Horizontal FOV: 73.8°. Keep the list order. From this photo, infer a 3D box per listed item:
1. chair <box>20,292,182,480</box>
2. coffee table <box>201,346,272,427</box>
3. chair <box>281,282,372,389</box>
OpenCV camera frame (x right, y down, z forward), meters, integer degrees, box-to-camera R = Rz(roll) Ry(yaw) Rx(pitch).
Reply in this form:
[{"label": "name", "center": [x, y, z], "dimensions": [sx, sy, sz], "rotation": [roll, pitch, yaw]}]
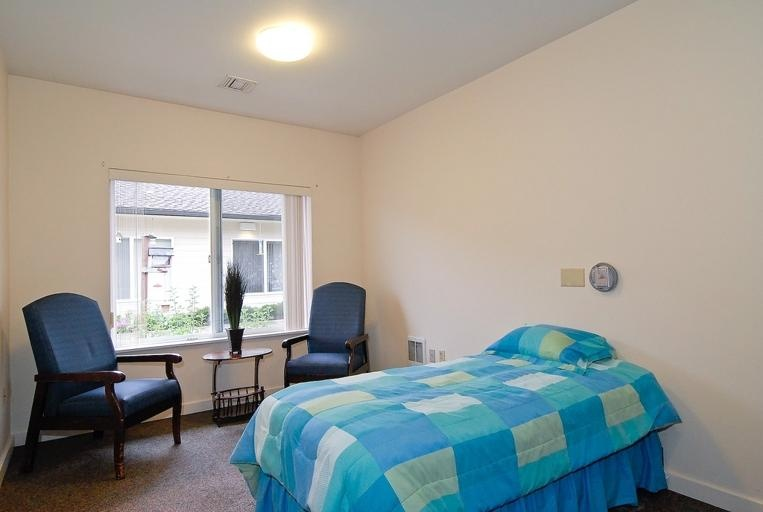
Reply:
[{"label": "chair", "center": [-2.418, 1.031, 4.501], "dimensions": [1.175, 1.348, 1.177], "rotation": [0, -2, -15]}, {"label": "coffee table", "center": [-1.481, 1.370, 5.306], "dimensions": [0.711, 0.666, 0.502], "rotation": [-1, 1, -30]}, {"label": "chair", "center": [-0.559, 0.960, 5.460], "dimensions": [0.955, 1.295, 0.929], "rotation": [-2, -1, 36]}]
